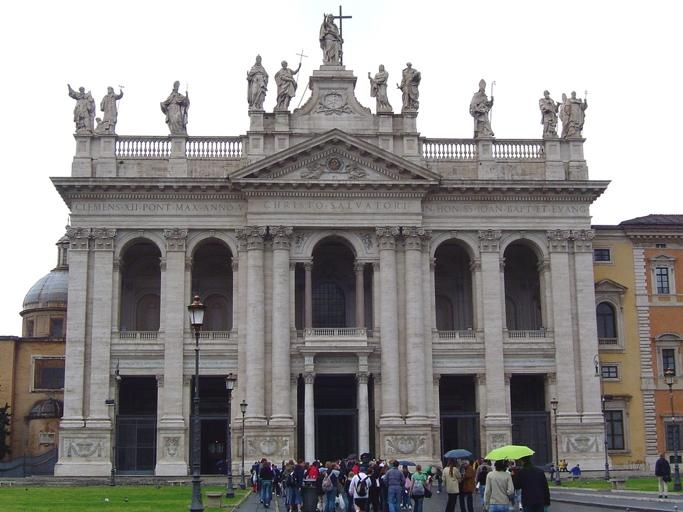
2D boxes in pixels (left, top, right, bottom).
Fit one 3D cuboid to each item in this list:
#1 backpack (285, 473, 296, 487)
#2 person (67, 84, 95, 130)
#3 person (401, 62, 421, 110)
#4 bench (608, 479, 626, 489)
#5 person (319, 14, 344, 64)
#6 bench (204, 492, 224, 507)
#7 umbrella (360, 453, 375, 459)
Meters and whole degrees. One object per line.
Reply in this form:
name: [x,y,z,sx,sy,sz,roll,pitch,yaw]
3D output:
backpack: [-2.784,12.117,76.133,0.745,0.702,0.295,-12,-18,36]
person: [-18.403,-10.424,99.413,1.539,3.282,0.703,2,-15,-11]
person: [4.846,-12.129,100.146,1.273,3.508,0.825,-2,-15,4]
bench: [16.963,14.057,86.630,1.054,0.699,0.655,3,-11,-15]
person: [-0.802,-15.775,101.221,1.497,3.690,0.977,0,-15,-3]
bench: [-7.157,13.645,78.357,1.065,0.707,0.830,2,-14,-5]
umbrella: [1.546,12.948,91.061,0.863,0.455,0.944,1,-14,1]
